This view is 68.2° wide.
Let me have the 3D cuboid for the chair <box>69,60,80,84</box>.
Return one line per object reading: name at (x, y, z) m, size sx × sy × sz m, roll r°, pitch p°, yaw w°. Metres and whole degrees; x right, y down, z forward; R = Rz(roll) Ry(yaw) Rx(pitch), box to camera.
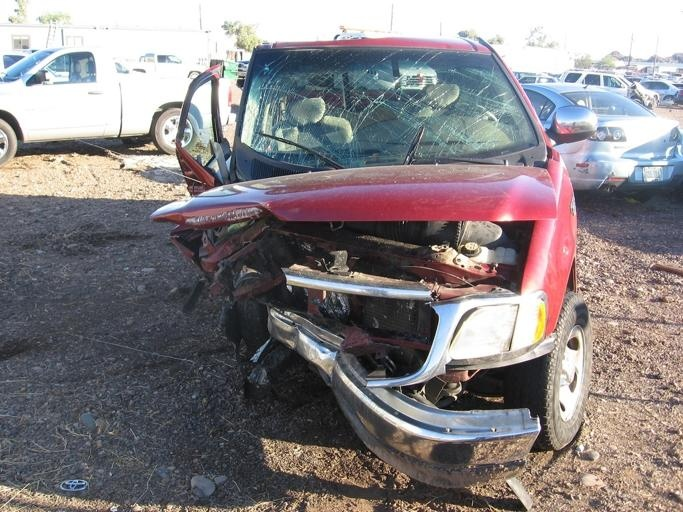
chair at (-5.028, -3.513, 9.472) m, size 0.182 × 0.371 × 0.260 m, roll -5°, pitch 22°, yaw -12°
